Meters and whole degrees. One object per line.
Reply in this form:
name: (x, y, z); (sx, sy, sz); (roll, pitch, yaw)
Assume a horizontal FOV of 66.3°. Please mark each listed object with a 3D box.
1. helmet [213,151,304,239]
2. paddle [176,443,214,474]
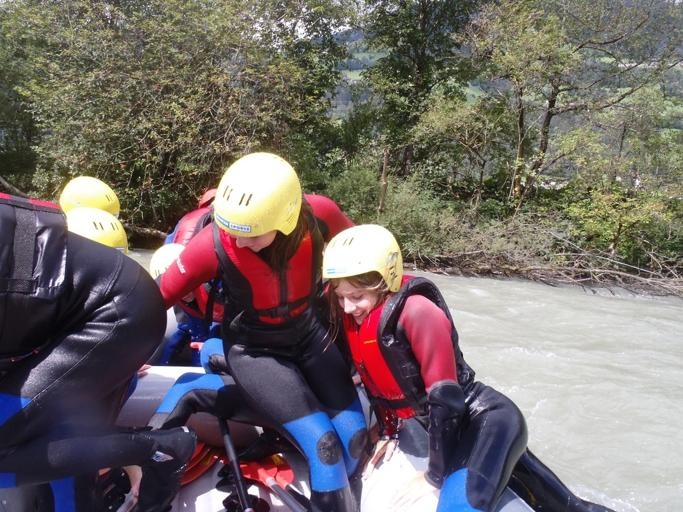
helmet: (-0.456, -0.376, 3.108); (0.377, 0.410, 0.549); (20, 22, 5)
paddle: (-0.947, 1.263, 3.339); (0.044, 0.178, 0.181); (49, 0, -3)
